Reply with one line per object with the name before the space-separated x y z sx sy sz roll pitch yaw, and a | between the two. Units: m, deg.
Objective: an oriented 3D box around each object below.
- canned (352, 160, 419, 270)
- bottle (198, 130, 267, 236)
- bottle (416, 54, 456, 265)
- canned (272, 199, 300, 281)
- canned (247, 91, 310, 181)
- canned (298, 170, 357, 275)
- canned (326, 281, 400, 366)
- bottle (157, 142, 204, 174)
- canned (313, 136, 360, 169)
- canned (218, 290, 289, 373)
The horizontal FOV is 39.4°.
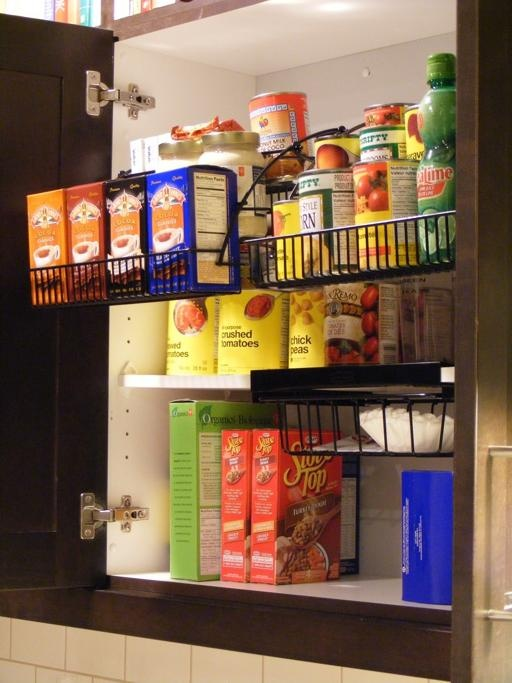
canned | 0.143 -0.145 0.802 0.073 0.125 0.085 -1 -1 13
bottle | -0.011 -0.209 0.994 0.078 0.144 0.133 -2 -1 37
bottle | 0.191 -0.197 0.773 0.038 0.154 0.111 -1 -1 -3
canned | 0.038 -0.131 0.908 0.033 0.107 0.086 -1 -1 1
canned | 0.040 -0.308 1.084 0.085 0.122 0.083 -9 8 -19
canned | 0.083 -0.145 0.848 0.068 0.126 0.062 -1 -1 9
canned | 0.146 -0.019 1.010 0.111 0.114 0.107 6 -10 -39
bottle | -0.111 -0.265 1.016 0.063 0.035 0.061 -2 -3 0
canned | 0.102 -0.241 0.909 0.059 0.041 0.057 -1 3 -11
canned | 0.001 0.001 1.110 0.125 0.130 0.119 1 -10 1
